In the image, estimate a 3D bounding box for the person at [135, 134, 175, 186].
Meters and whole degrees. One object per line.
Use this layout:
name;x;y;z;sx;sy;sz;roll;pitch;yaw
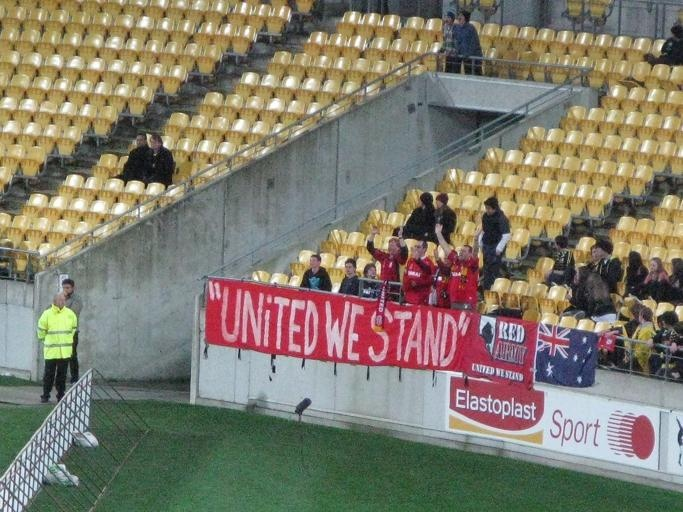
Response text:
person;-3.755;-1.927;43.912;0.580;1.019;0.518;1;11;26

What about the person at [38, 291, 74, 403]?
person;-5.229;1.566;39.968;0.593;1.944;0.574;1;0;11

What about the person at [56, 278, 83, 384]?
person;-5.015;1.264;40.765;0.458;1.778;0.371;7;11;42

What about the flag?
flag;3.829;1.622;38.067;1.122;1.031;0.094;9;8;14

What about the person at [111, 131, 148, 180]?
person;-4.165;-2.099;44.252;0.501;0.989;0.453;-5;11;18
